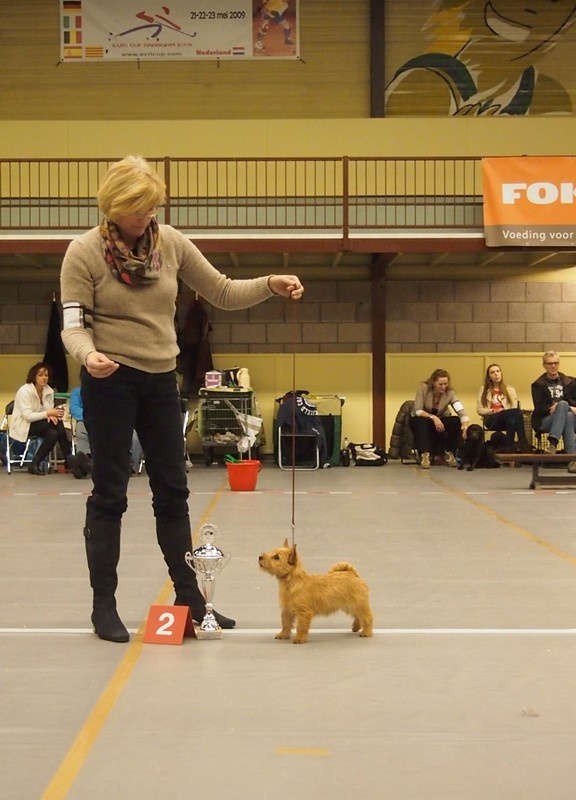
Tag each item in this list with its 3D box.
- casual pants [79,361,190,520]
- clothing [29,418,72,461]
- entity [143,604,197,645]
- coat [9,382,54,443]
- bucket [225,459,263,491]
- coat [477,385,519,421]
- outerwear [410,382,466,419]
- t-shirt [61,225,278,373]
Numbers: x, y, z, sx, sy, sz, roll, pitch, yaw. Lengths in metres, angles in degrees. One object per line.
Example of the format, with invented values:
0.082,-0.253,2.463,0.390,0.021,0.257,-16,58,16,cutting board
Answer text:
-0.435,0.144,2.727,0.275,0.545,0.166,3,-32,-16,casual pants
-2.369,0.410,9.356,0.459,0.554,0.353,-1,0,21,clothing
-0.350,0.661,2.693,0.125,0.105,0.115,1,-1,-1,entity
-2.548,0.141,9.230,0.429,0.584,0.345,0,2,-15,coat
-0.356,0.625,7.630,0.278,0.212,0.255,0,-4,0,bucket
2.190,0.024,9.936,0.563,0.297,0.489,0,45,6,coat
1.647,0.037,10.025,0.548,0.375,0.409,4,-1,-9,outerwear
-0.366,-0.292,2.694,0.610,0.435,0.259,-1,3,-38,t-shirt
